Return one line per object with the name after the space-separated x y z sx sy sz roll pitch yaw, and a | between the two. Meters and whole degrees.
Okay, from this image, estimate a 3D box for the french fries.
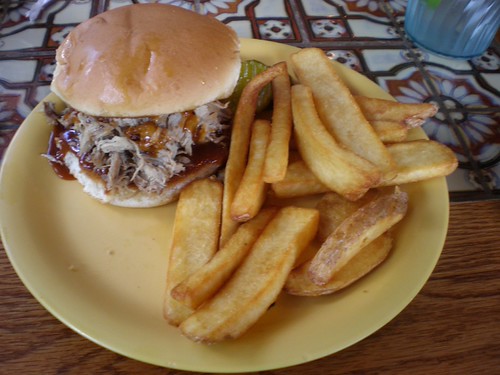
0.193 -0.007 2.319 1.646 1.124 1.282 4 -64 -4 | french fries
